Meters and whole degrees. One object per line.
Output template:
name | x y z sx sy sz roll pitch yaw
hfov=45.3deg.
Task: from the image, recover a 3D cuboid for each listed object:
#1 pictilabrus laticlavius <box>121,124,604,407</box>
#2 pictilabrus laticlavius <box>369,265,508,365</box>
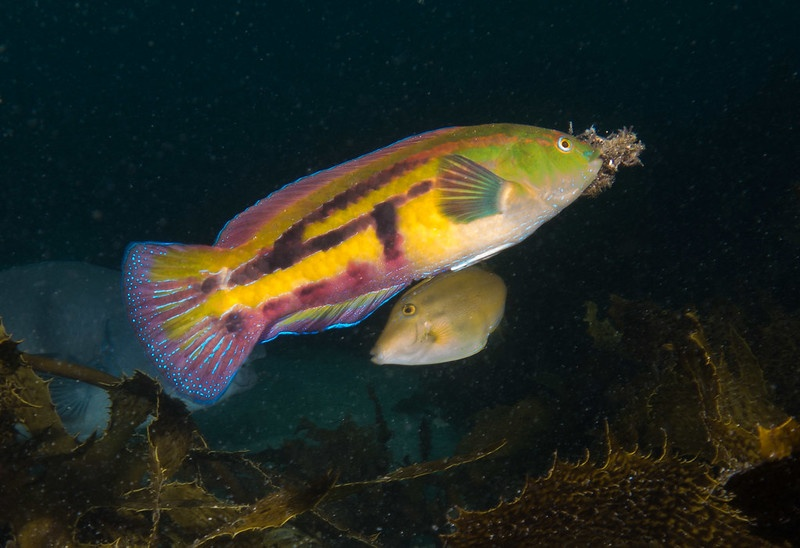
pictilabrus laticlavius | -0.092 -0.298 6.968 3.674 1.037 1.171 -21 96 -15
pictilabrus laticlavius | 0.322 0.295 7.113 0.652 1.314 0.837 6 97 14
